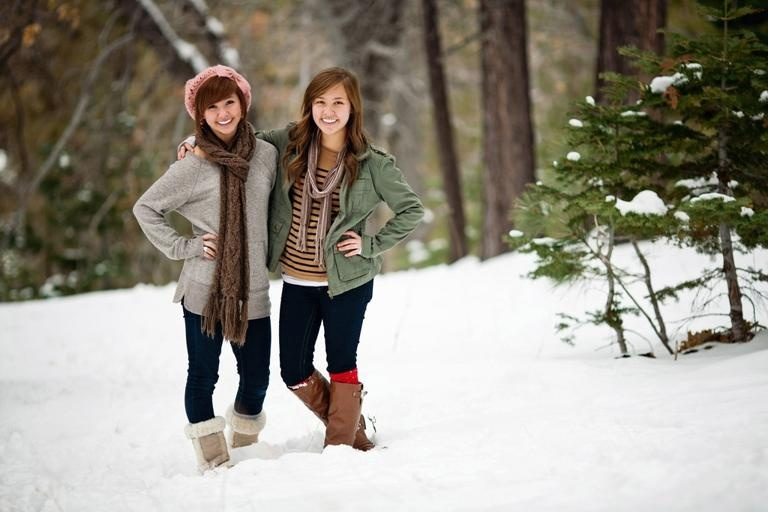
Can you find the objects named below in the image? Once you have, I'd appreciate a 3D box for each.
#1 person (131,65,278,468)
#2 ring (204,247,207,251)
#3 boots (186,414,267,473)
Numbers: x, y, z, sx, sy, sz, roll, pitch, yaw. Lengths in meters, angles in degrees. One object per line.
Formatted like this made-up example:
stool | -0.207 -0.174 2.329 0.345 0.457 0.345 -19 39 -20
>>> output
person | -1.282 0.080 6.456 0.973 3.033 0.662 -1 -7 -17
ring | -1.337 -0.062 6.346 0.033 0.029 0.004 -2 -7 -13
boots | -1.235 1.393 6.540 0.441 0.419 0.450 -9 4 -17
